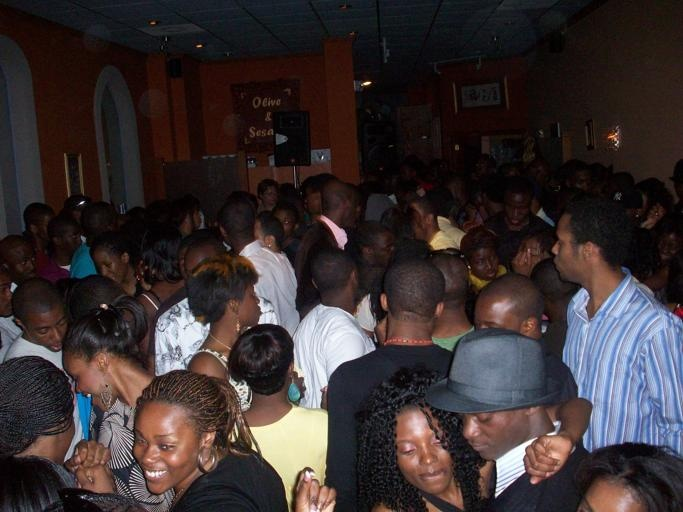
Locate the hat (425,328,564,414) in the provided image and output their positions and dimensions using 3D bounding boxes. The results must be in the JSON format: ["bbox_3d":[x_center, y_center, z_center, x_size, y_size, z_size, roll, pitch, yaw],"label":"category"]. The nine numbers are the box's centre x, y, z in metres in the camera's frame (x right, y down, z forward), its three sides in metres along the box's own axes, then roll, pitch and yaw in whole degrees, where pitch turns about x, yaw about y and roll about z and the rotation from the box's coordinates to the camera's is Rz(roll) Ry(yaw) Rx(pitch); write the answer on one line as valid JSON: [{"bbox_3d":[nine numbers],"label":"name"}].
[{"bbox_3d":[0.614,0.421,2.217,0.424,0.188,0.314,-2,4,-20],"label":"hat"}]

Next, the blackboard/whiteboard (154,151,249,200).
[{"bbox_3d":[-2.507,-1.324,10.157,1.547,1.110,0.832,-6,-10,-9],"label":"blackboard/whiteboard"}]

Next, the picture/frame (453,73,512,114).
[{"bbox_3d":[3.491,-4.084,14.137,1.373,0.780,0.392,-1,11,10],"label":"picture/frame"}]
